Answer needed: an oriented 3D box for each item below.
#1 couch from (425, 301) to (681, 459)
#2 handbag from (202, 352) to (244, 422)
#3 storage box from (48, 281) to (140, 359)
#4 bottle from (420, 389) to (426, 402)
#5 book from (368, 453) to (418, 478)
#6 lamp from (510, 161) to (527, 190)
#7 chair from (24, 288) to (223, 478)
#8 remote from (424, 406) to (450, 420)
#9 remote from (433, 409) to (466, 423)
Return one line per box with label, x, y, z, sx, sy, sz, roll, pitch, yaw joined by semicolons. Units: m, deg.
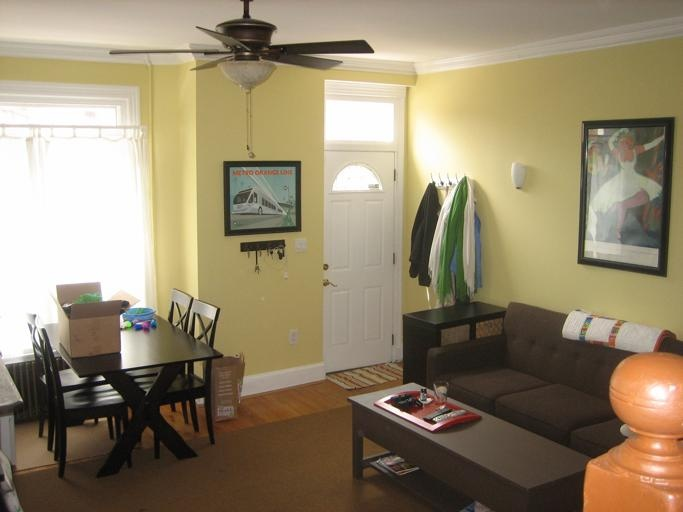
couch;1.472;0.551;3.946;0.798;0.882;1.740;-4;10;-36
handbag;-0.958;1.173;4.560;0.331;0.531;0.357;-1;4;-18
storage box;-1.818;0.364;3.821;0.599;0.425;0.547;-3;7;-33
bottle;0.537;0.923;3.431;0.054;0.063;0.057;-1;16;-1
book;0.348;1.402;3.476;0.141;0.048;0.154;-6;13;-29
lamp;1.551;-0.702;4.543;0.123;0.221;0.052;2;17;11
chair;-1.520;0.579;3.833;1.143;0.983;1.568;-5;10;-24
remote;0.593;0.978;3.215;0.057;0.056;0.215;1;17;41
remote;0.667;0.980;3.197;0.254;0.012;0.068;-12;21;-30
